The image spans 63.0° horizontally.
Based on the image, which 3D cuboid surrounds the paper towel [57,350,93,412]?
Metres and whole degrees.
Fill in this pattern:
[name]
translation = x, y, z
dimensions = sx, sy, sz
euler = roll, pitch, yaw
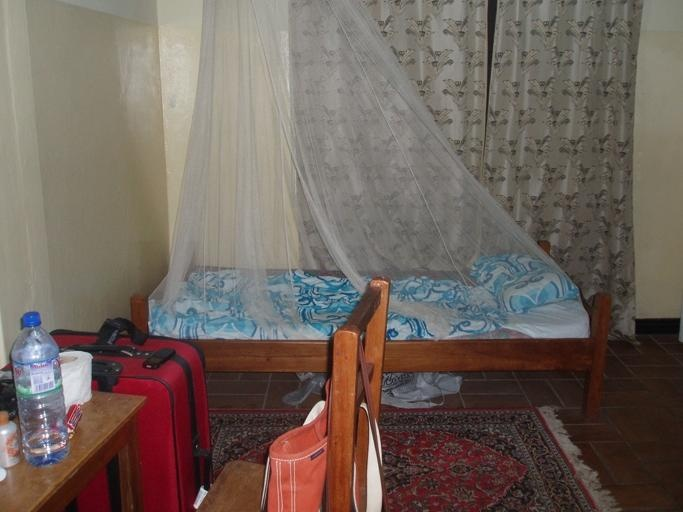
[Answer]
[paper towel]
translation = -0.922, 0.445, 1.982
dimensions = 0.154, 0.162, 0.150
euler = 1, 28, -11
